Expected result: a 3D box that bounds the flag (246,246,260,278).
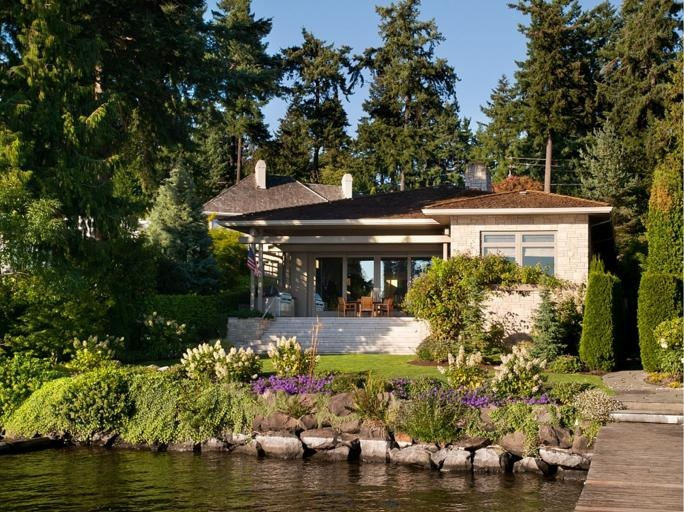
[{"bbox_3d":[-4.082,0.282,48.900,0.809,0.268,2.299,30,-24,12],"label":"flag"}]
